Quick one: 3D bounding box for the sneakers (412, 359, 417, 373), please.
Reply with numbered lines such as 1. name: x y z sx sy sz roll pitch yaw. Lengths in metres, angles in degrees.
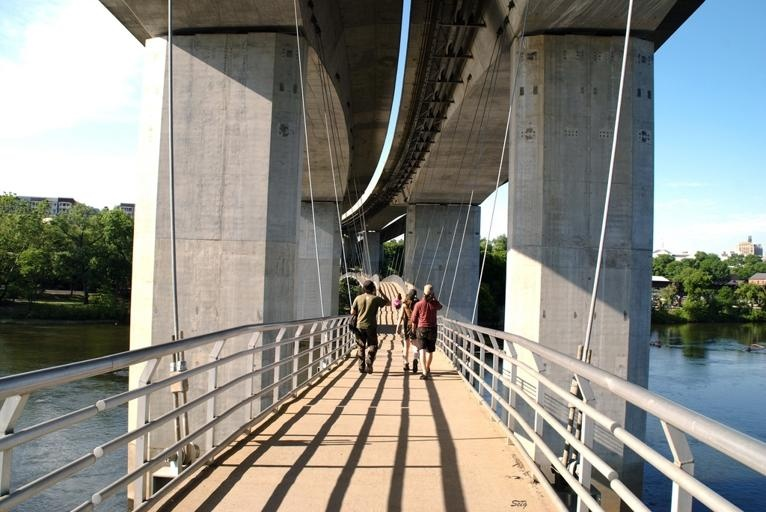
1. sneakers: 0.834 2.806 15.435 0.114 0.351 0.133 3 4 2
